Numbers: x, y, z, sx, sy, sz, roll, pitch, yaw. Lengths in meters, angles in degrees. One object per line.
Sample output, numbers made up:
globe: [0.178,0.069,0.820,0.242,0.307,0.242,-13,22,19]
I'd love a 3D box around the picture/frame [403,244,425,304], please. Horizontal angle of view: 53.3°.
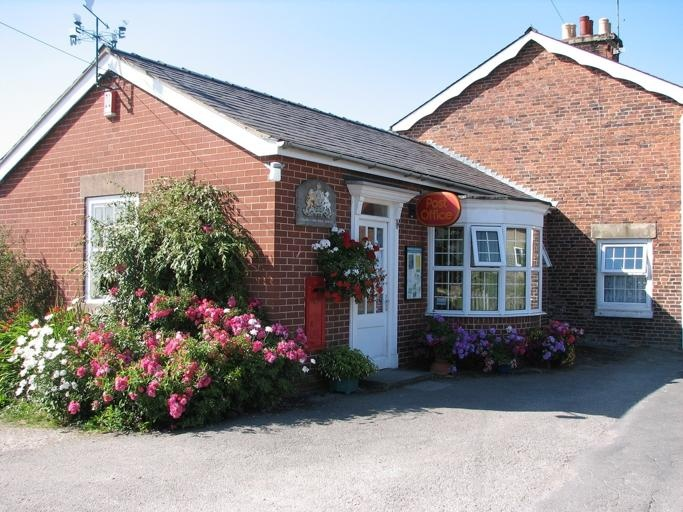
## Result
picture/frame: [1.540,0.419,14.811,0.138,1.678,1.094,0,-4,31]

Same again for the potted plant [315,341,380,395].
potted plant: [0.215,2.130,12.449,0.599,0.669,0.757,5,-12,-35]

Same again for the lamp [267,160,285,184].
lamp: [-1.149,-1.391,11.741,0.324,0.454,0.284,3,-2,-38]

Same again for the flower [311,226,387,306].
flower: [0.054,0.207,12.469,1.220,1.326,0.685,0,5,-6]
